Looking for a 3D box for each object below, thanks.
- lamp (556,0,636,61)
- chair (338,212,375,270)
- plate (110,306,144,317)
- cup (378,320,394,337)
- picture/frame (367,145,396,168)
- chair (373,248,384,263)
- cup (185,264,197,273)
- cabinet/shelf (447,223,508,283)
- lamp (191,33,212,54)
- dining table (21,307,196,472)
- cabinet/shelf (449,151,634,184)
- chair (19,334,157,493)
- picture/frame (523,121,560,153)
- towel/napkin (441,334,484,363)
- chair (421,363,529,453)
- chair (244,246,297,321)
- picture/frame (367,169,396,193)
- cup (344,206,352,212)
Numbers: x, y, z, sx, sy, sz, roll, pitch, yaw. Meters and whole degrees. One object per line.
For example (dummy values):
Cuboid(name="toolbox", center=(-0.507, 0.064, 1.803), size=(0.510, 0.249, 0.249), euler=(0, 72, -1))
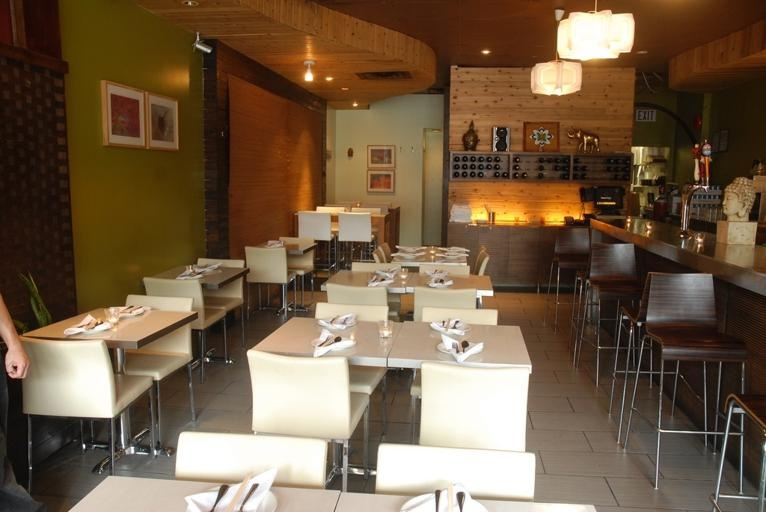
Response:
Cuboid(name="lamp", center=(2.014, -2.102, 5.421), size=(0.638, 0.644, 0.530), euler=(4, 16, 16))
Cuboid(name="chair", center=(-0.502, -0.295, 10.046), size=(0.622, 1.173, 1.418), euler=(0, 14, -3))
Cuboid(name="plate", center=(-2.073, 0.444, 4.554), size=(0.152, 0.030, 0.108), euler=(4, 7, 18))
Cuboid(name="cup", center=(0.014, 0.537, 4.137), size=(0.096, 0.086, 0.119), euler=(3, 6, 19))
Cuboid(name="picture/frame", center=(-0.036, -2.290, 12.707), size=(0.562, 0.411, 0.023), euler=(0, 5, 6))
Cuboid(name="chair", center=(-0.057, -0.010, 6.702), size=(0.158, 0.181, 0.147), euler=(0, 11, 6))
Cuboid(name="cup", center=(-2.014, 0.141, 5.891), size=(0.107, 0.048, 0.138), euler=(2, 4, 3))
Cuboid(name="cabinet/shelf", center=(1.398, -0.060, 8.128), size=(1.032, 0.876, 0.325), euler=(0, 1, 4))
Cuboid(name="lamp", center=(-2.132, -2.507, 6.610), size=(0.208, 0.200, 0.280), euler=(-4, 14, -15))
Cuboid(name="dining table", center=(-1.913, 0.965, 4.564), size=(1.208, 1.099, 1.168), euler=(2, 12, 7))
Cuboid(name="cabinet/shelf", center=(2.675, -1.502, 9.497), size=(3.047, 0.505, 0.315), euler=(0, 14, -2))
Cuboid(name="chair", center=(-2.181, 1.059, 4.070), size=(0.760, 1.096, 0.581), euler=(2, 15, 5))
Cuboid(name="picture/frame", center=(2.675, -2.020, 9.481), size=(0.611, 0.494, 0.268), euler=(3, 15, 11))
Cuboid(name="towel/napkin", center=(0.530, 0.634, 3.850), size=(0.196, 0.064, 0.200), euler=(7, 12, 23))
Cuboid(name="chair", center=(0.543, 0.888, 3.686), size=(0.542, 0.724, 0.609), euler=(3, 5, 9))
Cuboid(name="chair", center=(-1.505, 0.331, 7.495), size=(0.635, 1.034, 0.737), euler=(-2, 14, -10))
Cuboid(name="picture/frame", center=(-0.026, -1.745, 12.775), size=(0.584, 0.454, 0.043), euler=(0, 4, 0))
Cuboid(name="cup", center=(-0.668, -0.888, 10.598), size=(0.101, 0.065, 0.094), euler=(-1, 8, 0))
